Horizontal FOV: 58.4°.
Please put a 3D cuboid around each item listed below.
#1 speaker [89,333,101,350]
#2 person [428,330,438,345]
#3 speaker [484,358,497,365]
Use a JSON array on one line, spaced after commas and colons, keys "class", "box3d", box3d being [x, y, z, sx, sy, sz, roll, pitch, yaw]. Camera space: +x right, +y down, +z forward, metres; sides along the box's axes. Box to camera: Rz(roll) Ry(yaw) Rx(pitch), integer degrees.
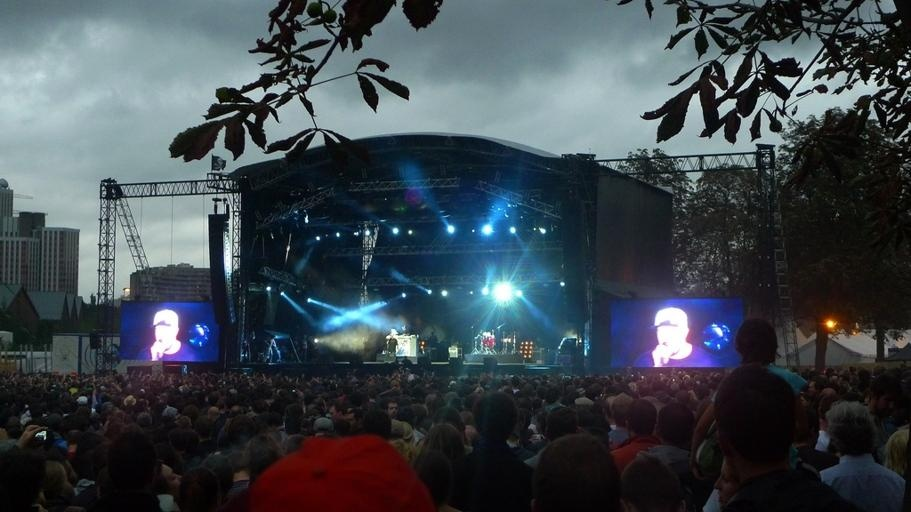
[{"class": "speaker", "box3d": [-16.765, 4.027, 38.084, 0.456, 0.826, 0.606, 3, -9, -25]}, {"class": "person", "box3d": [-1.213, 4.296, 42.238, 0.569, 0.879, 0.536, -4, -11, 19]}, {"class": "speaker", "box3d": [1.304, 4.142, 30.911, 0.552, 0.327, 0.258, -1, -10, 5]}]
